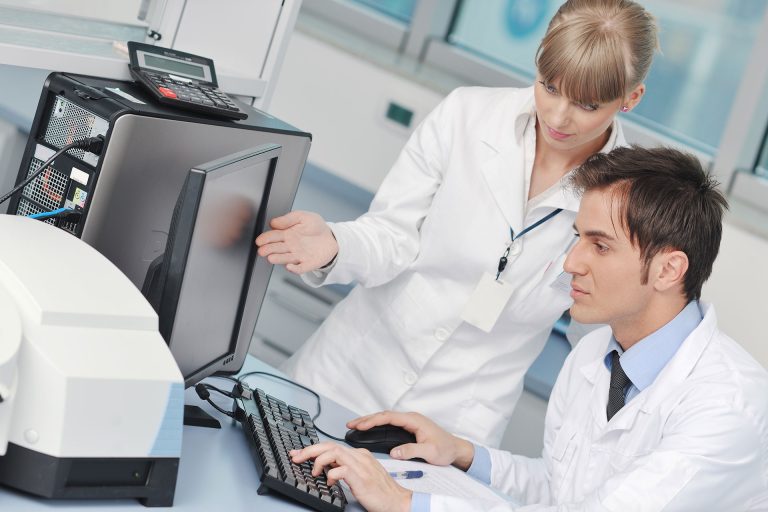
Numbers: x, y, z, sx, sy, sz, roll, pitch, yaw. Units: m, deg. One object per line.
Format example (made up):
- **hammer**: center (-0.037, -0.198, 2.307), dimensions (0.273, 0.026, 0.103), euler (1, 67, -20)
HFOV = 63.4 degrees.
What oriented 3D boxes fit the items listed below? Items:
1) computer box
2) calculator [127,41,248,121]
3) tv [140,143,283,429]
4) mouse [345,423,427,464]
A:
- **computer box**: center (-0.415, -0.132, 1.504), dimensions (0.778, 0.763, 0.529), euler (9, 8, -43)
- **calculator**: center (-0.423, -0.434, 1.317), dimensions (0.207, 0.108, 0.222), euler (-1, 32, -46)
- **tv**: center (-0.316, 0.047, 1.207), dimensions (0.180, 0.477, 0.411), euler (2, 20, -5)
- **mouse**: center (0.001, 0.395, 1.347), dimensions (0.159, 0.046, 0.079), euler (1, 7, -26)
